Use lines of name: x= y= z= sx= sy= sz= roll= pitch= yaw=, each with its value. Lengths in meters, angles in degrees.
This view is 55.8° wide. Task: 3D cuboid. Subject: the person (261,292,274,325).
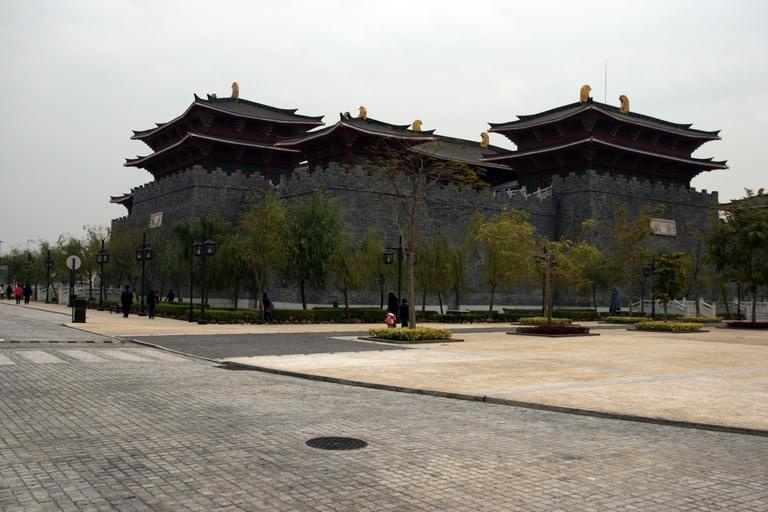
person: x=-5.940 y=2.703 z=37.404 sx=0.448 sy=1.463 sz=0.976 roll=0 pitch=-5 yaw=-11

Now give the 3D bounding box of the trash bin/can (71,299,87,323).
trash bin/can: x=-14.135 y=2.548 z=33.806 sx=0.491 sy=1.041 sz=0.840 roll=2 pitch=-5 yaw=-27
